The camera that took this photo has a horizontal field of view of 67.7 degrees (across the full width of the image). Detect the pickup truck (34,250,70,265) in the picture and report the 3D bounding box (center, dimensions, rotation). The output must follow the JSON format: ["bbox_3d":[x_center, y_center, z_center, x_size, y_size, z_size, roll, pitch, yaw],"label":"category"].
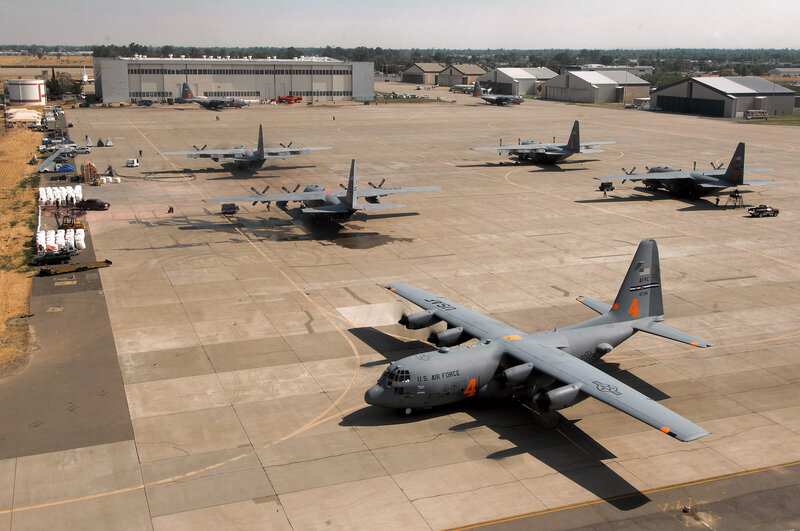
[{"bbox_3d":[-34.469,-0.752,58.908,3.499,0.610,1.615,-2,9,-18],"label":"pickup truck"}]

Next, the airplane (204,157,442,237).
[{"bbox_3d":[-10.989,-7.505,71.102,23.573,5.109,15.314,-6,17,-25],"label":"airplane"}]

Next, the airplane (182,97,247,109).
[{"bbox_3d":[-60.111,-52.587,193.819,20.446,4.080,17.487,-3,16,-15],"label":"airplane"}]

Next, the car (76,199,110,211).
[{"bbox_3d":[-39.851,-7.782,76.885,3.763,1.138,2.382,-3,18,-14],"label":"car"}]

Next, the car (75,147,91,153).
[{"bbox_3d":[-59.462,-21.376,111.003,3.464,0.750,1.478,2,8,-14],"label":"car"}]

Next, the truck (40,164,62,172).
[{"bbox_3d":[-57.554,-16.103,98.257,3.709,0.543,1.997,-1,3,-19],"label":"truck"}]

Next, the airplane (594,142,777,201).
[{"bbox_3d":[41.452,-12.976,81.985,14.868,8.100,7.527,13,25,33],"label":"airplane"}]

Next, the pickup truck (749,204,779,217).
[{"bbox_3d":[46.895,-6.992,76.469,4.492,1.006,2.117,-4,17,-6],"label":"pickup truck"}]
